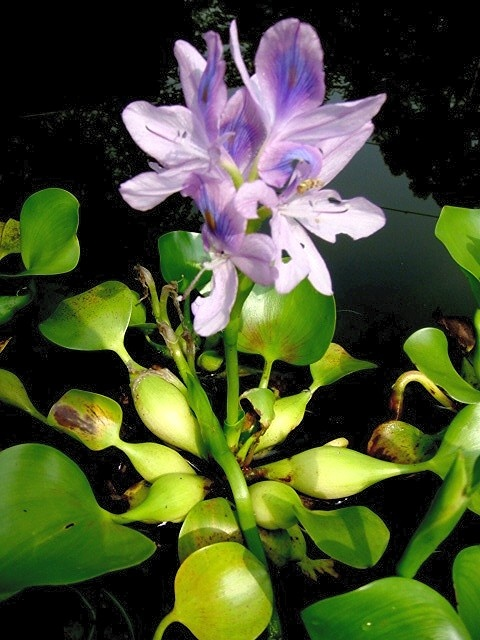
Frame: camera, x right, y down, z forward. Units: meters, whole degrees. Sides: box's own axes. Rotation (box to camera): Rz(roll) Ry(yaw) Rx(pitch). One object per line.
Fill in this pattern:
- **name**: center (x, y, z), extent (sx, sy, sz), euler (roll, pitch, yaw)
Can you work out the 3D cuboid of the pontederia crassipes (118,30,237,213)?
- **pontederia crassipes**: center (-0.081, -0.236, 0.735), extent (0.127, 0.210, 0.084), euler (1, 33, -3)
